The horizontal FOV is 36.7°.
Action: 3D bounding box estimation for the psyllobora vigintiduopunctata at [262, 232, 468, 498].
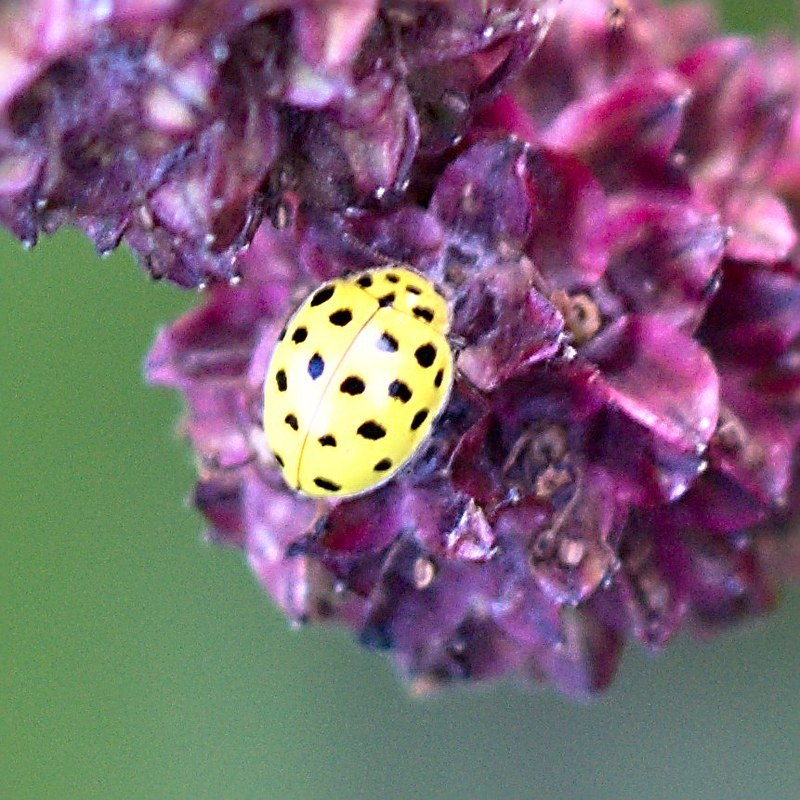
[{"bbox_3d":[-0.017,-0.016,0.553,0.071,0.035,0.112,29,99,20],"label":"psyllobora vigintiduopunctata"}]
